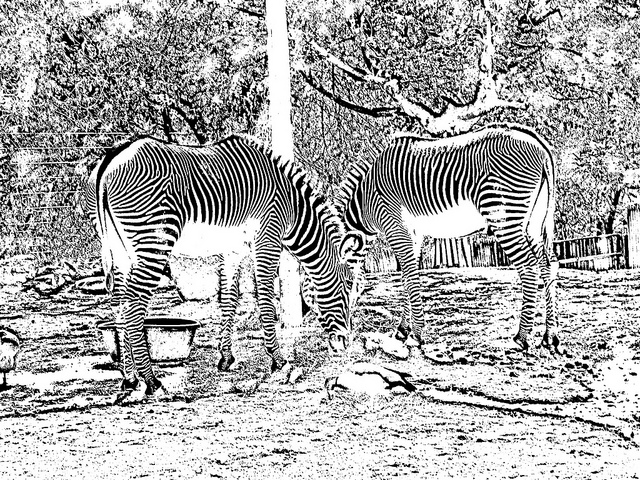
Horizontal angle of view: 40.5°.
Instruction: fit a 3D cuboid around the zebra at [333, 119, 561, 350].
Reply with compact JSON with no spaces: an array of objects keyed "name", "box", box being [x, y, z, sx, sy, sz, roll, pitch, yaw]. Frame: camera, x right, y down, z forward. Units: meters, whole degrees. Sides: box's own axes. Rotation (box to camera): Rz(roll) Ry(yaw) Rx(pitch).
[{"name":"zebra","box":[1.706,-0.082,11.000,2.666,2.716,1.188,3,12,17]}]
